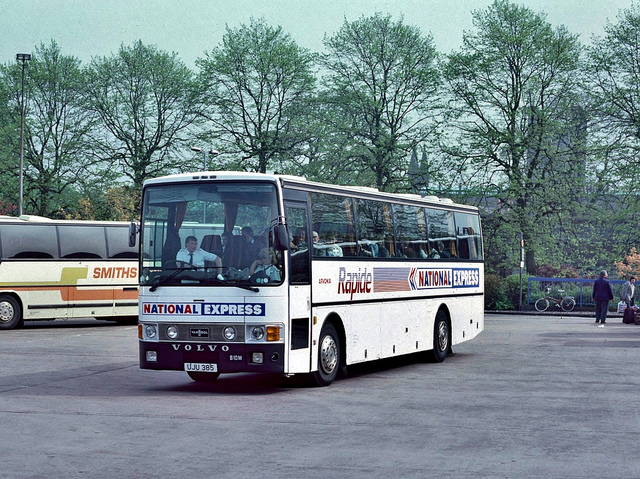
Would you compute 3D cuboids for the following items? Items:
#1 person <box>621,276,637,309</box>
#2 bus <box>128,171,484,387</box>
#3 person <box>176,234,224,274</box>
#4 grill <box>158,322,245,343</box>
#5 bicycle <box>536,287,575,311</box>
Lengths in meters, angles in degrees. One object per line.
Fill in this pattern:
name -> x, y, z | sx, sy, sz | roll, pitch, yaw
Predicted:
person -> 14.482, 2.464, 37.705 | 0.517, 1.520, 3.119 | -1, -6, 21
bus -> 0.547, 0.883, 18.935 | 3.204, 3.792, 11.281 | -1, -3, 30
person -> -2.114, 0.263, 14.098 | 0.870, 0.664, 0.210 | -2, -5, 30
grill -> -2.083, 1.630, 13.968 | 1.597, 0.350, 0.118 | -1, -5, 17
bicycle -> 13.121, 3.324, 44.790 | 2.005, 1.351, 0.757 | -2, -5, 27
